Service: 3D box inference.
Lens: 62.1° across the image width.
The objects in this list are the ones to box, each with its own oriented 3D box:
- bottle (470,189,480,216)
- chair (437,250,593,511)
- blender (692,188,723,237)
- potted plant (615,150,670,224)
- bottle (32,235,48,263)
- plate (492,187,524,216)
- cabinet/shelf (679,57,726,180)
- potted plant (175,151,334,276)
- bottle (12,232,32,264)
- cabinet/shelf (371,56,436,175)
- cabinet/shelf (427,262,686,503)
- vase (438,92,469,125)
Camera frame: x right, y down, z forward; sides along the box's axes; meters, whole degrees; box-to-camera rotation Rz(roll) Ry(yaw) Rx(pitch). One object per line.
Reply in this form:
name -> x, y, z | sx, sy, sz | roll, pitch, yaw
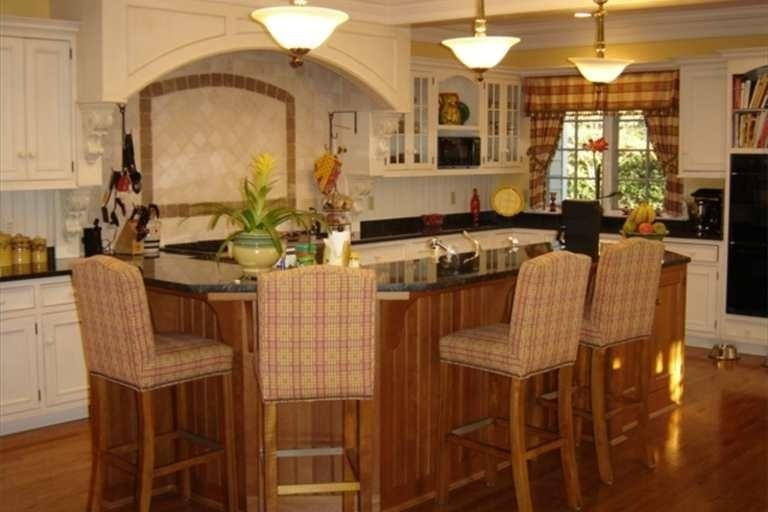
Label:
bottle -> 1.186, -0.720, 8.414 | 0.133, 0.339, 0.431 | 1, 10, 7
chair -> 0.781, 0.752, 3.915 | 0.826, 1.635, 0.558 | 7, 13, 33
blender -> 3.634, -0.511, 7.189 | 0.293, 0.483, 0.380 | 3, 11, 15
potted plant -> 3.188, -0.970, 7.990 | 0.574, 0.766, 0.233 | 4, 12, 24
bottle -> -2.850, -0.050, 5.228 | 0.110, 0.207, 0.123 | -5, 12, -26
plate -> 1.593, -0.703, 8.340 | 0.396, 0.383, 0.214 | 2, 11, 14
cabinet/shelf -> 3.518, -1.525, 7.070 | 0.523, 1.267, 0.197 | 5, 12, 25
potted plant -> -0.792, -0.236, 4.163 | 0.834, 0.774, 0.899 | 4, 6, -9
bottle -> -2.948, -0.055, 5.155 | 0.145, 0.227, 0.133 | 0, 10, 0
cabinet/shelf -> 0.214, -1.513, 7.147 | 0.266, 1.194, 0.992 | 9, 14, 40
cabinet/shelf -> 1.355, 1.028, 5.843 | 1.574, 1.918, 2.082 | -2, 6, -30
vase -> 0.809, -1.758, 7.629 | 0.207, 0.381, 0.553 | 7, 12, 34
